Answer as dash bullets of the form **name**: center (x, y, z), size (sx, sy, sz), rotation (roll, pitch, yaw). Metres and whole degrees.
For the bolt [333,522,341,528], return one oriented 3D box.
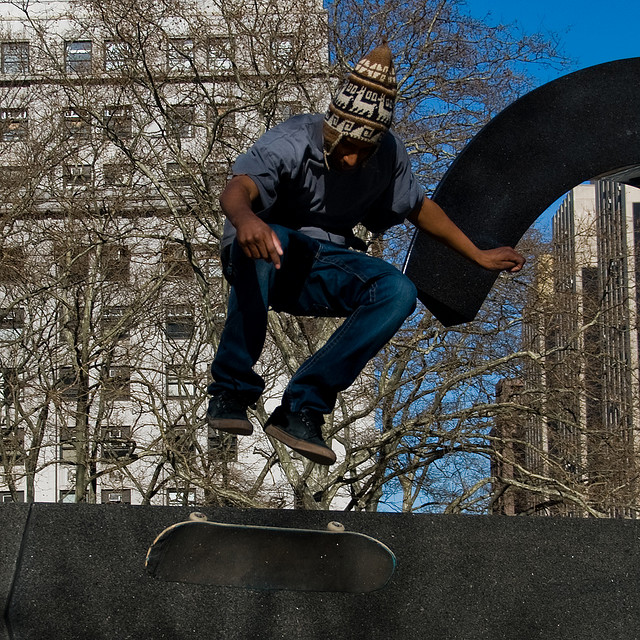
- **bolt**: center (0.119, 1.478, 10.559), size (0.054, 0.029, 0.077), rotation (12, 30, -10)
